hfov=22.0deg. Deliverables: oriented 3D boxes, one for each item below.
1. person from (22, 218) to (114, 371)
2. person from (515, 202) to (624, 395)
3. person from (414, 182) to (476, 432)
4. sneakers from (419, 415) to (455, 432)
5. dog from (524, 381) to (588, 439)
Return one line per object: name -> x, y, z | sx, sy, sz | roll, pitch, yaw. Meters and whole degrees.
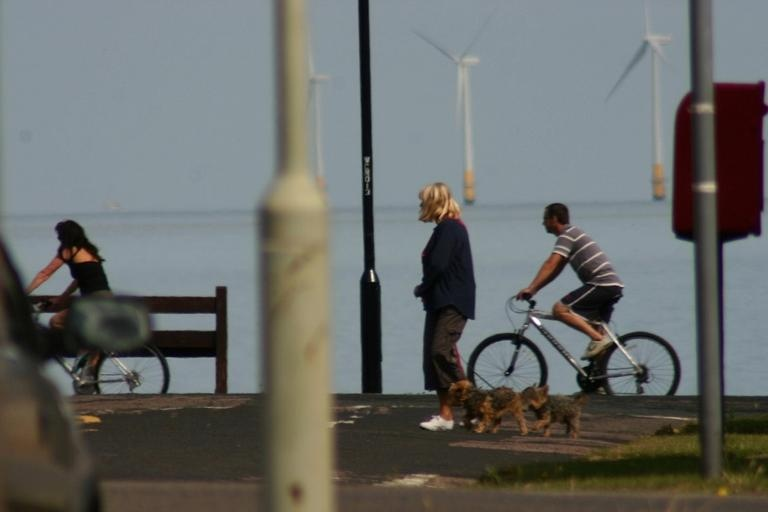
person -> -3.221, 0.305, 20.584 | 0.886, 1.699, 0.737 | 2, 11, 10
person -> 1.958, 0.210, 20.336 | 1.060, 1.632, 0.581 | 1, -9, -34
person -> 0.553, 0.446, 18.267 | 0.558, 2.296, 0.398 | -4, -7, 1
sneakers -> 0.487, 1.542, 18.306 | 0.325, 0.149, 0.128 | 2, 2, -6
dog -> 1.581, 1.433, 18.258 | 0.615, 0.505, 0.264 | 6, -4, -12
